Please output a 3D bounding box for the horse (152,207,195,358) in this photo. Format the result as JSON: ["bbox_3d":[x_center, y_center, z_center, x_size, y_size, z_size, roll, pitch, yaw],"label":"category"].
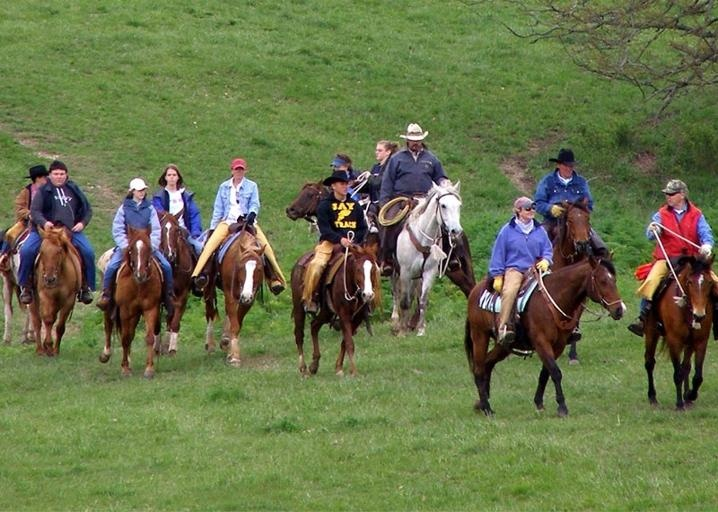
[{"bbox_3d":[-5.398,0.680,51.258,1.065,4.017,0.934,-4,17,-15],"label":"horse"}]

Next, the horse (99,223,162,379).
[{"bbox_3d":[-6.611,1.388,50.753,1.758,4.118,6.123,2,-3,-10],"label":"horse"}]

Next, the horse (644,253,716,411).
[{"bbox_3d":[8.868,1.817,47.781,2.064,3.956,1.935,1,14,6],"label":"horse"}]

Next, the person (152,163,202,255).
[{"bbox_3d":[-5.314,-1.623,51.847,1.305,2.924,1.104,-14,24,-32],"label":"person"}]

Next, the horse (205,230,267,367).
[{"bbox_3d":[-3.609,1.070,51.902,1.585,3.917,5.820,4,6,-10],"label":"horse"}]

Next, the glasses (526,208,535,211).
[{"bbox_3d":[4.613,-1.353,46.988,0.243,0.058,0.094,-2,0,-16],"label":"glasses"}]
